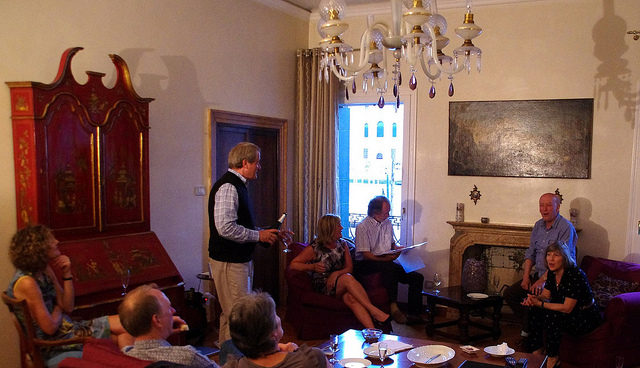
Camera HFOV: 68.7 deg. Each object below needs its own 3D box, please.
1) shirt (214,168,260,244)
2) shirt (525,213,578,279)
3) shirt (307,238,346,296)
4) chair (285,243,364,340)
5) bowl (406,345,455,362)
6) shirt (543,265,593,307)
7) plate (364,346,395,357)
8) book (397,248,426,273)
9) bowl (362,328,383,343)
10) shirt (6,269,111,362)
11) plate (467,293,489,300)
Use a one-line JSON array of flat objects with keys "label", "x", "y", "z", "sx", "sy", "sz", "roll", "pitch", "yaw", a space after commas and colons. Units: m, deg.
[{"label": "shirt", "x": -0.924, "y": 0.277, "z": 5.431, "sx": 0.703, "sy": 0.855, "sz": 1.238, "roll": 2, "pitch": 4, "yaw": -5}, {"label": "shirt", "x": 3.036, "y": 0.839, "z": 6.396, "sx": 0.678, "sy": 0.773, "sz": 0.549, "roll": 7, "pitch": 15, "yaw": -11}, {"label": "shirt", "x": 0.108, "y": 1.083, "z": 6.281, "sx": 0.577, "sy": 0.731, "sz": 0.401, "roll": 2, "pitch": -5, "yaw": -27}, {"label": "chair", "x": -0.133, "y": 1.430, "z": 6.518, "sx": 1.303, "sy": 1.420, "sz": 1.129, "roll": 1, "pitch": -4, "yaw": -25}, {"label": "bowl", "x": 1.071, "y": 1.626, "z": 4.461, "sx": 0.447, "sy": 0.098, "sz": 0.256, "roll": -2, "pitch": 4, "yaw": -19}, {"label": "shirt", "x": 3.006, "y": 1.214, "z": 5.625, "sx": 0.462, "sy": 0.475, "sz": 0.486, "roll": 0, "pitch": -3, "yaw": -20}, {"label": "plate", "x": 0.579, "y": 1.601, "z": 4.518, "sx": 0.294, "sy": 0.102, "sz": 0.144, "roll": 0, "pitch": 4, "yaw": 3}, {"label": "book", "x": 1.270, "y": 1.083, "z": 6.616, "sx": 0.366, "sy": 0.341, "sz": 0.100, "roll": -23, "pitch": -13, "yaw": -34}, {"label": "bowl", "x": 0.488, "y": 1.456, "z": 4.561, "sx": 0.148, "sy": 0.075, "sz": 0.142, "roll": 1, "pitch": -4, "yaw": 0}, {"label": "shirt", "x": -2.495, "y": 1.224, "z": 4.442, "sx": 0.931, "sy": 0.870, "sz": 0.357, "roll": -2, "pitch": 5, "yaw": -16}, {"label": "plate", "x": 2.086, "y": 1.470, "z": 6.130, "sx": 0.259, "sy": 0.033, "sz": 0.173, "roll": 0, "pitch": 4, "yaw": 3}]
